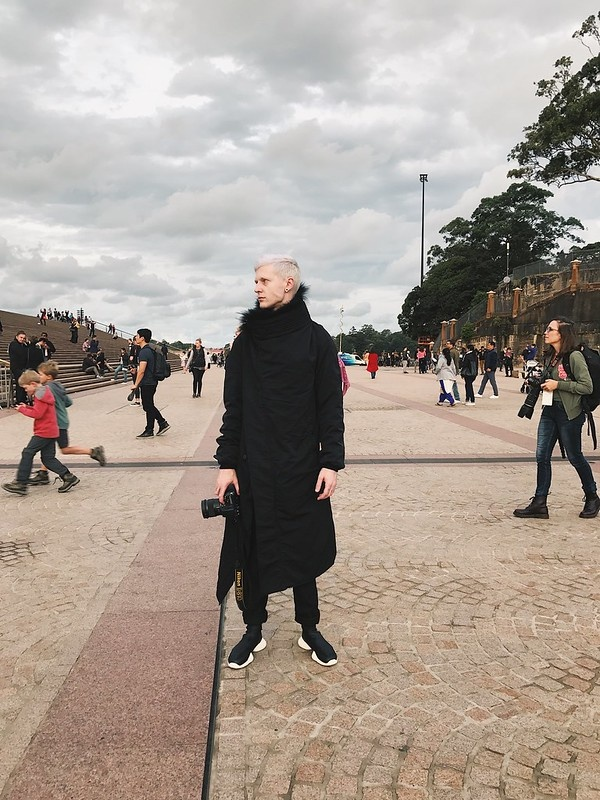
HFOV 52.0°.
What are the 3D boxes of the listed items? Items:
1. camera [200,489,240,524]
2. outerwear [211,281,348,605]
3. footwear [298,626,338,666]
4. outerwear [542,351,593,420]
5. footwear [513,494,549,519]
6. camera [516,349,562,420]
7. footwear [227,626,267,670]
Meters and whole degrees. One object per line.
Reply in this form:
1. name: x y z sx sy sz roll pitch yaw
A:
1. camera: -0.312 0.419 2.452 0.130 0.096 0.115 1 15 0
2. outerwear: -0.089 0.176 2.562 0.517 1.293 0.261 -1 6 -6
3. footwear: 0.074 1.082 2.705 0.091 0.074 0.195 1 -2 -28
4. outerwear: 2.076 -0.117 4.771 0.332 0.547 0.578 -1 0 1
5. footwear: 1.886 0.883 5.109 0.331 0.215 0.134 5 -6 12
6. camera: 1.958 -0.120 5.016 0.220 0.522 0.429 9 8 -31
7. footwear: -0.233 1.065 2.679 0.089 0.130 0.203 10 5 13
